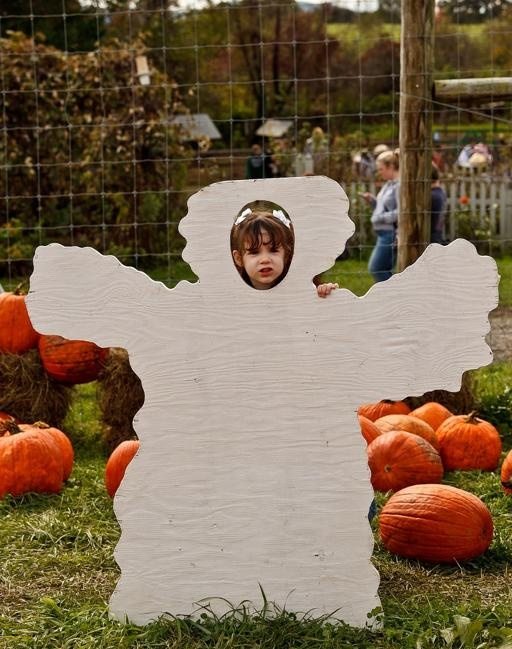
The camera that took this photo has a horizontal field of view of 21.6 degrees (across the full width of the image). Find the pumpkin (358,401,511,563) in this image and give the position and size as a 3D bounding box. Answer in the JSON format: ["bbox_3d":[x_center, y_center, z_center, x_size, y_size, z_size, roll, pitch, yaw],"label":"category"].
[{"bbox_3d":[0.918,0.798,6.711,0.299,0.724,0.735,36,-52,-28],"label":"pumpkin"}]
